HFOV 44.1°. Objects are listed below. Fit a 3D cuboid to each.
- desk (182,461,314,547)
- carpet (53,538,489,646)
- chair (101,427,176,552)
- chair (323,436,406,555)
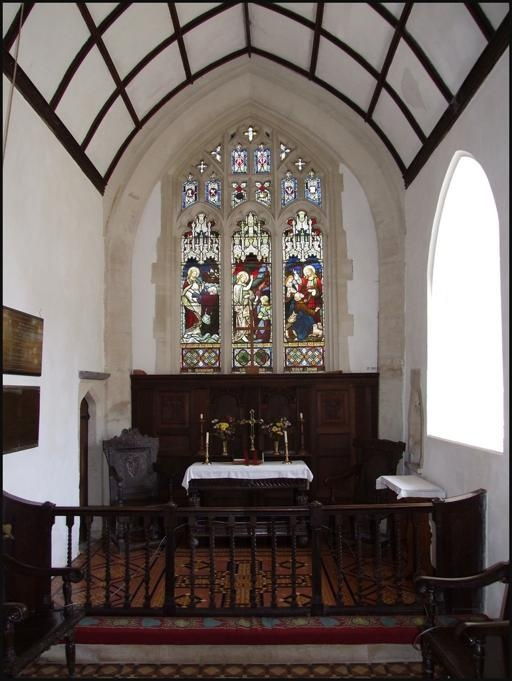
[{"bbox_3d":[-0.066,2.395,8.164,1.433,0.798,1.105,0,-19,0],"label":"desk"},{"bbox_3d":[-0.069,2.437,6.445,3.800,0.841,0.644,1,1,-5],"label":"carpet"},{"bbox_3d":[-1.474,1.861,7.811,1.011,1.928,0.640,9,-25,-37],"label":"chair"},{"bbox_3d":[1.483,2.046,8.760,0.900,1.338,0.952,16,-16,-38],"label":"chair"}]
